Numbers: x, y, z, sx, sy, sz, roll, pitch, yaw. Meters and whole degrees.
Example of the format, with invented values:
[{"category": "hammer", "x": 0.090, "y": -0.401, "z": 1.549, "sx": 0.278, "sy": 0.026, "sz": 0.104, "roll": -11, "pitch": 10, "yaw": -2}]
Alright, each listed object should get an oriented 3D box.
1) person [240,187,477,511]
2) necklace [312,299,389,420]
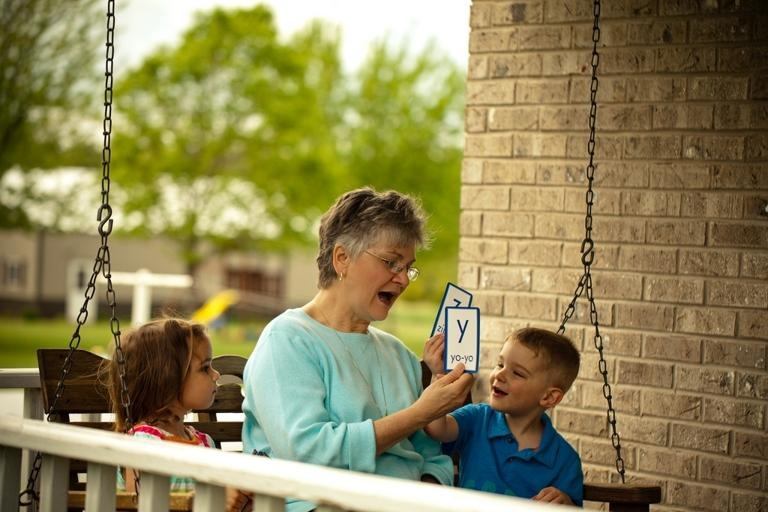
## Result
[{"category": "person", "x": -0.202, "y": 0.419, "z": 5.973, "sx": 1.242, "sy": 1.700, "sz": 0.551, "roll": 4, "pitch": -4, "yaw": -10}, {"category": "necklace", "x": -0.220, "y": 0.636, "z": 5.971, "sx": 0.255, "sy": 0.491, "sz": 0.495, "roll": -28, "pitch": -33, "yaw": 24}]
